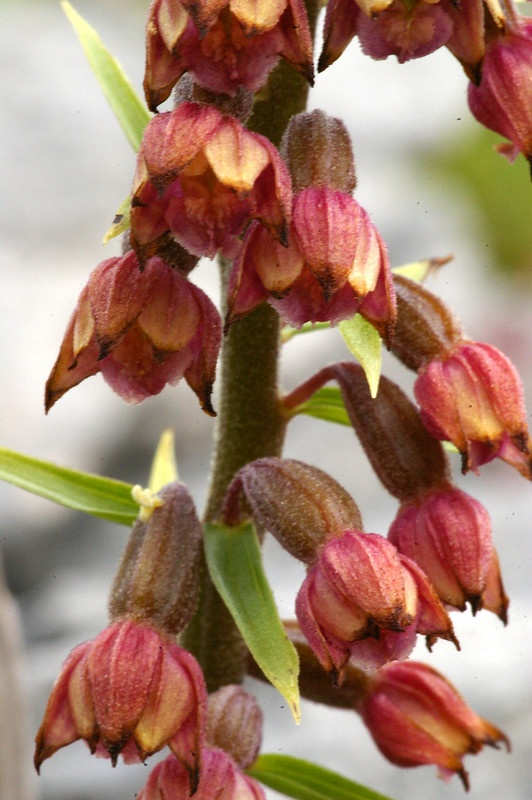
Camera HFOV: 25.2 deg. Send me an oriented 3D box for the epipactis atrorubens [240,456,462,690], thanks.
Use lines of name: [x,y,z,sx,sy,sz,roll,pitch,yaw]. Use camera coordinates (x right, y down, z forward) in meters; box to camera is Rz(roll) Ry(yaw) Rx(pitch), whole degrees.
epipactis atrorubens: [0.086,0.201,1.456,0.162,0.120,0.307,-26,46,-16]

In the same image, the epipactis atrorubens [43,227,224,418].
epipactis atrorubens: [-0.157,-0.072,1.416,0.184,0.222,0.113,9,-10,-23]

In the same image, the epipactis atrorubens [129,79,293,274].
epipactis atrorubens: [-0.068,-0.237,1.337,0.165,0.184,0.103,-20,-3,-6]
